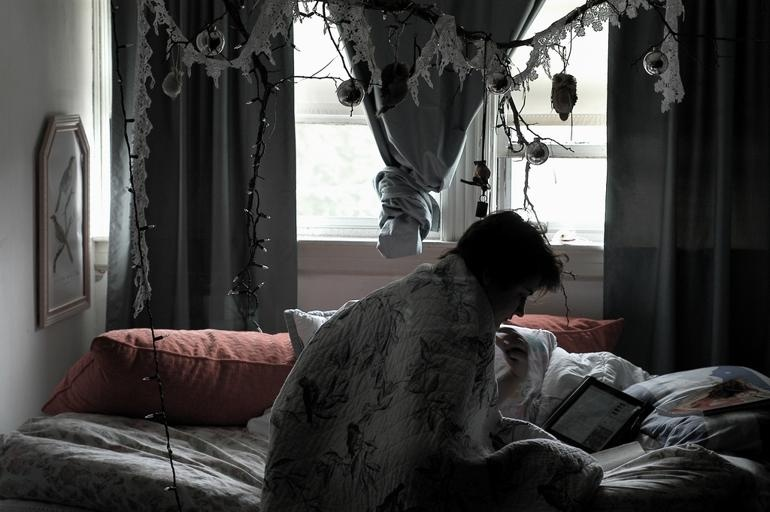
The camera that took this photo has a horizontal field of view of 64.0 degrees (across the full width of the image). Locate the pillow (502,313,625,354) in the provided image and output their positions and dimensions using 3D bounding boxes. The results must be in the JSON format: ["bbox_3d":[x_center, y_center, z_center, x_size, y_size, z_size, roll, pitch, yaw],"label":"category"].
[{"bbox_3d":[0.922,0.353,2.813,0.300,0.071,0.297,-25,6,-11],"label":"pillow"}]

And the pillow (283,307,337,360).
[{"bbox_3d":[-0.287,0.298,2.548,0.240,0.216,0.074,1,-1,4],"label":"pillow"}]

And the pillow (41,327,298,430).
[{"bbox_3d":[-0.842,0.478,2.399,0.832,0.286,0.497,0,-32,-25],"label":"pillow"}]

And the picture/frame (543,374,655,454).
[{"bbox_3d":[0.670,0.555,2.191,0.260,0.255,0.051,21,-33,-23],"label":"picture/frame"}]

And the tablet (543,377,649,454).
[{"bbox_3d":[0.742,0.593,2.192,0.324,0.062,0.336,-32,19,-1],"label":"tablet"}]
